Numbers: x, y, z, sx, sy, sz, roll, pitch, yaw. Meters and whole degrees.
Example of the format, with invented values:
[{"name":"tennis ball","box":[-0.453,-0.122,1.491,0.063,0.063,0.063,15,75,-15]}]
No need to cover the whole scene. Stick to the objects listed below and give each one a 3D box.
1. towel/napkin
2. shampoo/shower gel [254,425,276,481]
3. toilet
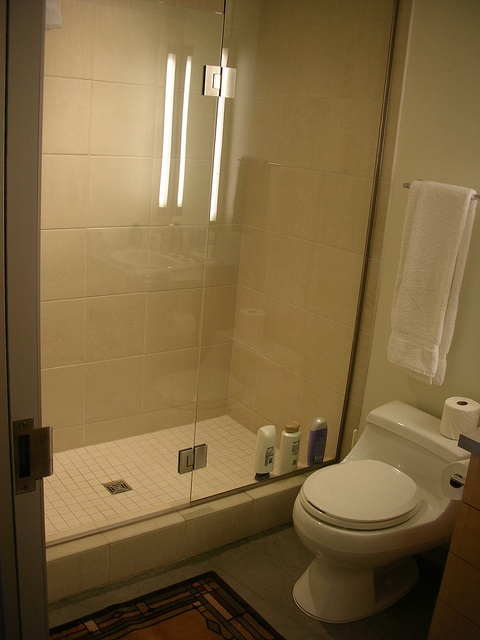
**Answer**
[{"name":"towel/napkin","box":[0.679,-0.126,1.758,0.085,0.709,0.279,-2,10,-28]},{"name":"shampoo/shower gel","box":[0.107,0.574,2.106,0.104,0.250,0.035,-5,12,-41]},{"name":"toilet","box":[0.476,0.632,1.829,0.660,0.750,0.512,-10,22,-30]}]
